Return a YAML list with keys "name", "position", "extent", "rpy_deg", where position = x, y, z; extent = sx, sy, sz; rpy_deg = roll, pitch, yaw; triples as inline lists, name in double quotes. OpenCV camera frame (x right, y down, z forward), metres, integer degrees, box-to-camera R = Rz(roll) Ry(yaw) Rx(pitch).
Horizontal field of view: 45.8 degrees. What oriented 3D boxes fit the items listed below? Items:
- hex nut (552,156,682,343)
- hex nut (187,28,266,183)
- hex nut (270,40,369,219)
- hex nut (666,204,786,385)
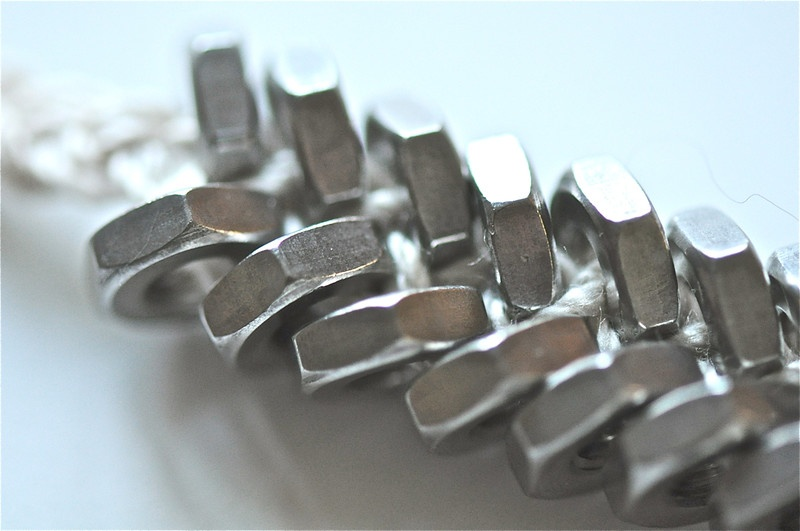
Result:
- name: "hex nut"
  position: [0.244, -0.011, 1.087]
  extent: [0.062, 0.154, 0.174]
  rpy_deg: [-26, 46, 1]
- name: "hex nut"
  position: [-0.232, -0.204, 1.234]
  extent: [0.086, 0.182, 0.083]
  rpy_deg: [-14, 22, -8]
- name: "hex nut"
  position: [-0.107, -0.164, 1.200]
  extent: [0.088, 0.250, 0.175]
  rpy_deg: [-19, 25, -1]
- name: "hex nut"
  position: [0.381, 0.015, 1.121]
  extent: [0.069, 0.155, 0.205]
  rpy_deg: [-20, 32, 5]
